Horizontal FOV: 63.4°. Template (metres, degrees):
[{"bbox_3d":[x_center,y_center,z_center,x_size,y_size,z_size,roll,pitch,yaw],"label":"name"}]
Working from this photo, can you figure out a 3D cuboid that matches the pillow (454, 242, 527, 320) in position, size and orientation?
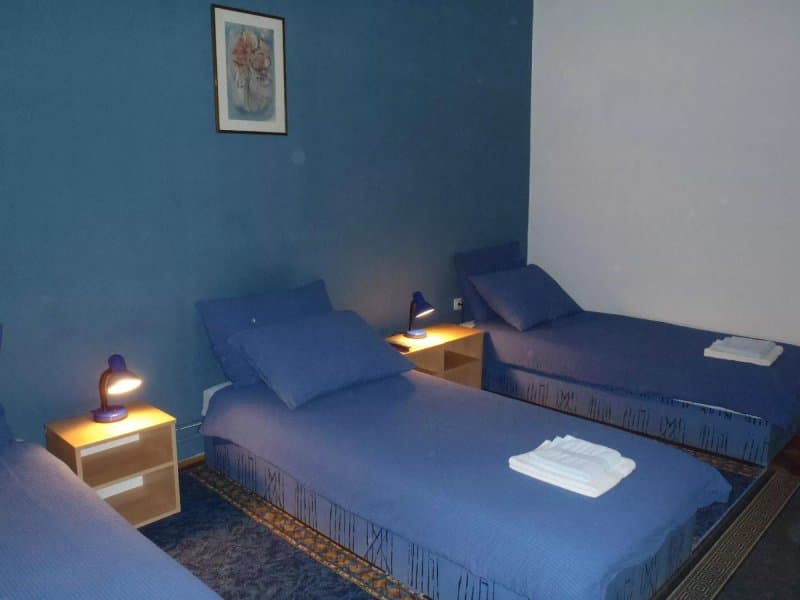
[{"bbox_3d":[0.641,-0.140,4.921,0.563,0.596,0.164,-9,-7,-45],"label":"pillow"}]

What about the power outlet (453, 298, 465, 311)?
[{"bbox_3d":[0.450,0.035,5.020,0.083,0.091,0.028,-1,12,-38],"label":"power outlet"}]

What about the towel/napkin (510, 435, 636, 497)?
[{"bbox_3d":[0.733,0.700,2.760,0.468,0.085,0.365,10,24,35],"label":"towel/napkin"}]
